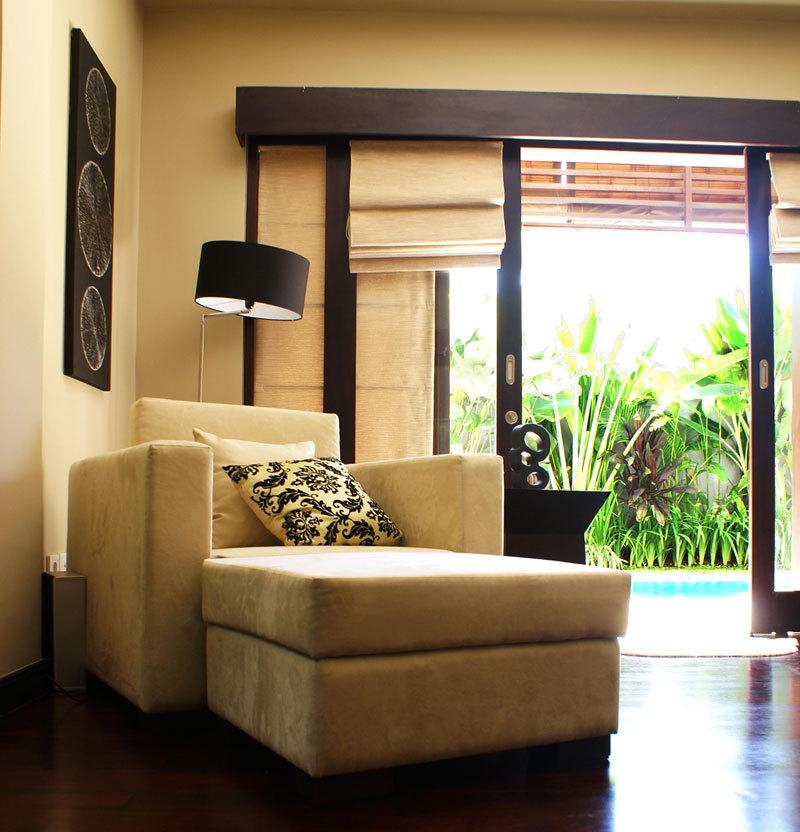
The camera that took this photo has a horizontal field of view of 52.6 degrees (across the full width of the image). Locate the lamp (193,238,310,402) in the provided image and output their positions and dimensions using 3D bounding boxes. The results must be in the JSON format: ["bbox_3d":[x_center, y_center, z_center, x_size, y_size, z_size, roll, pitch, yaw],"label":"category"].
[{"bbox_3d":[-0.594,-0.438,3.239,0.415,0.492,0.517,2,-7,-14],"label":"lamp"}]

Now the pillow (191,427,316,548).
[{"bbox_3d":[-0.471,0.219,2.398,0.340,0.347,0.127,22,-31,-40],"label":"pillow"}]
